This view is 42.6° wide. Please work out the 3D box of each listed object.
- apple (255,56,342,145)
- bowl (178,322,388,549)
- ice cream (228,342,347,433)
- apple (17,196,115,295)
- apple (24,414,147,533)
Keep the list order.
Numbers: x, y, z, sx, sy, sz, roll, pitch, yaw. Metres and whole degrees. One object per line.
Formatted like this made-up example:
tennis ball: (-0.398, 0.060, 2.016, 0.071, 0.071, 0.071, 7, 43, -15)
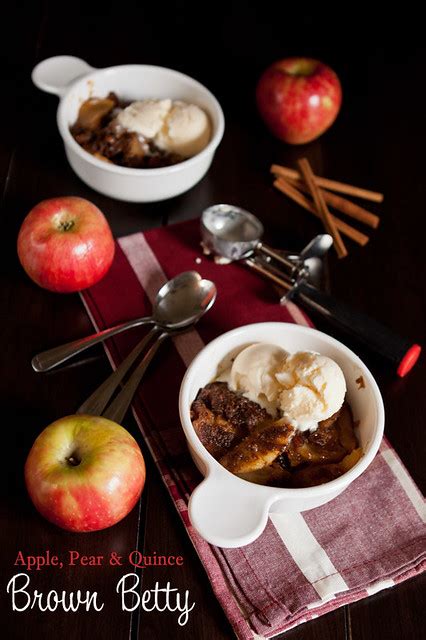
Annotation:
apple: (0.170, -0.440, 1.161, 0.161, 0.155, 0.164, -10, 42, -8)
bowl: (0.058, 0.121, 0.660, 0.289, 0.089, 0.242, -19, 54, -27)
ice cream: (0.096, 0.059, 0.704, 0.146, 0.112, 0.067, 14, 5, 3)
apple: (-0.227, -0.110, 0.858, 0.141, 0.109, 0.141, 1, 69, -5)
apple: (-0.146, 0.180, 0.631, 0.129, 0.113, 0.113, 8, 46, -4)
